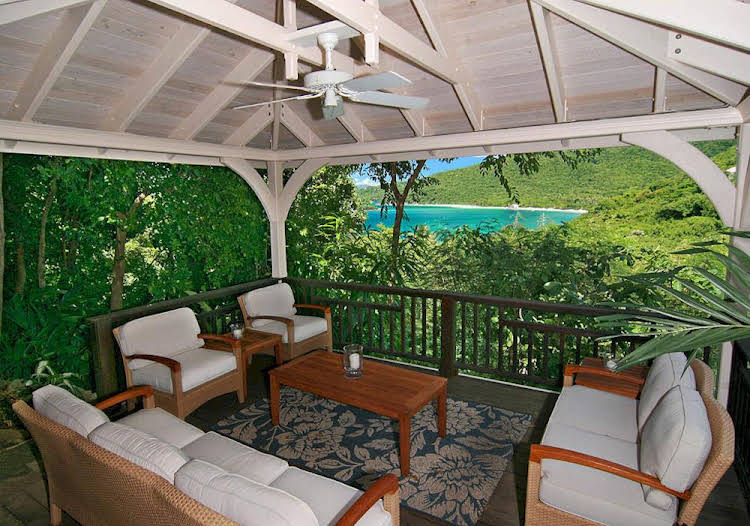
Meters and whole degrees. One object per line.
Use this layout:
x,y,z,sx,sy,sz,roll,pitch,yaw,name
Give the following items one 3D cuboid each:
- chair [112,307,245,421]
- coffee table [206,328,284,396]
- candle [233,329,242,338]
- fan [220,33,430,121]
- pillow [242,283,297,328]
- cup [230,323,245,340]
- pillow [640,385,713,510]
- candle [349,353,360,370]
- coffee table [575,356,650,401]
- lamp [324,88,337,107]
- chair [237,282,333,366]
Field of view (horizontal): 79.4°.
-2.118,1.069,5.234,1.428,1.096,1.119,7,12,30,chair
-1.699,1.127,5.573,0.842,0.629,0.782,6,10,31,coffee table
-1.625,0.833,5.355,0.109,0.095,0.107,0,-4,6,candle
-0.469,-1.789,4.282,1.135,0.361,1.059,5,16,15,fan
-1.439,0.584,6.219,0.608,0.533,0.414,-16,5,-43,pillow
-1.639,0.804,5.359,0.199,0.152,0.186,1,0,0,cup
2.045,1.191,3.079,0.398,0.511,0.541,1,6,31,pillow
-0.204,0.984,4.552,0.156,0.152,0.145,0,-1,10,candle
2.213,1.081,4.221,0.669,0.145,0.709,6,9,35,coffee table
-0.338,-1.246,3.418,0.094,0.107,0.116,-3,5,-9,lamp
-1.119,0.748,6.256,1.203,1.036,0.990,4,10,34,chair
